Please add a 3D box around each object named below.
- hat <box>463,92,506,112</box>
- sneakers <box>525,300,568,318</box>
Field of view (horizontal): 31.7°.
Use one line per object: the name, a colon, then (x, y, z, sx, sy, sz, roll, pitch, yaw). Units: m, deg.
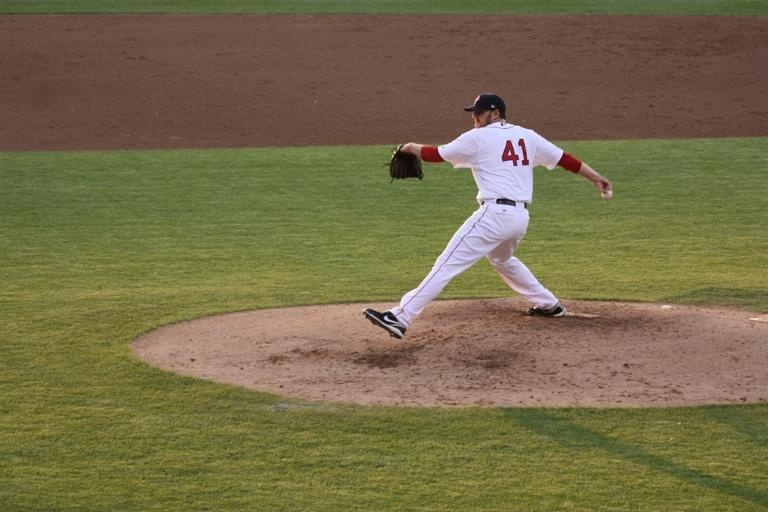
hat: (1.320, -1.972, 17.427, 0.548, 0.196, 0.306, 6, 13, 0)
sneakers: (2.152, 0.728, 17.893, 0.572, 0.182, 0.179, 3, 2, 9)
